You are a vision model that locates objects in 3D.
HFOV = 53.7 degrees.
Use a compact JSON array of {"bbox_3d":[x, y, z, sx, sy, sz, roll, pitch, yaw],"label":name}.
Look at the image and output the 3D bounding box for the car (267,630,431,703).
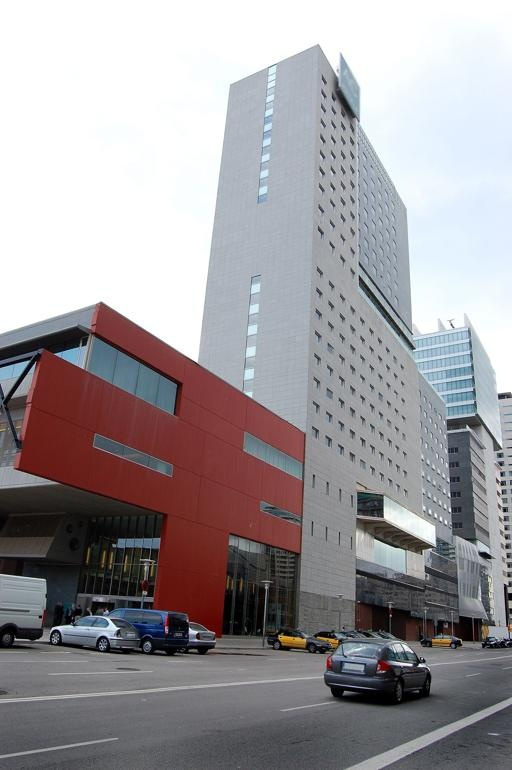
[{"bbox_3d":[2.926,6.531,11.957,1.392,1.178,3.298,-8,-25,23],"label":"car"}]
